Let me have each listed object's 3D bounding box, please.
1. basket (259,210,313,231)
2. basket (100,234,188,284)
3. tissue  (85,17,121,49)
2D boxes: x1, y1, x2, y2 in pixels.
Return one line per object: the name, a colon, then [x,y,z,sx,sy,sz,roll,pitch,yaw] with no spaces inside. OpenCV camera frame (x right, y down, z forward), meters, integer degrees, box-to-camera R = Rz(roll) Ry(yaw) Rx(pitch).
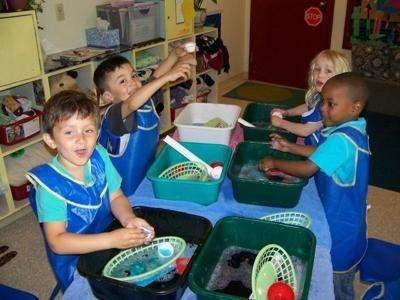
basket: [0.338,0.257,1.220,0.127,0.028,0.092,5,21,24]
basket: [-0.184,0.304,1.035,0.139,0.048,0.192,13,30,40]
tissue : [-0.858,-1.002,2.914,0.293,0.281,0.164,-9,-7,0]
